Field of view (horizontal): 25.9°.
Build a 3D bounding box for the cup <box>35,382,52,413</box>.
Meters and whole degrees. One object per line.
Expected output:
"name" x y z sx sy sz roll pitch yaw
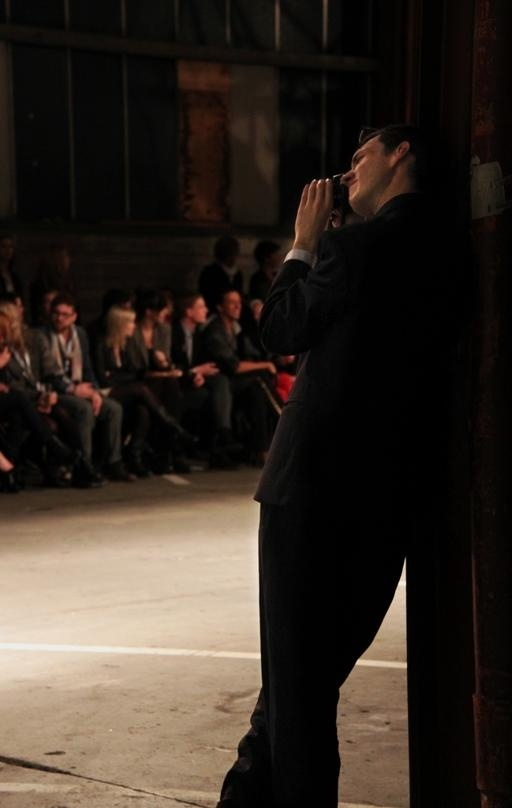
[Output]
"cup" -1.370 -0.049 7.094 0.100 0.186 0.067 13 -26 -40
